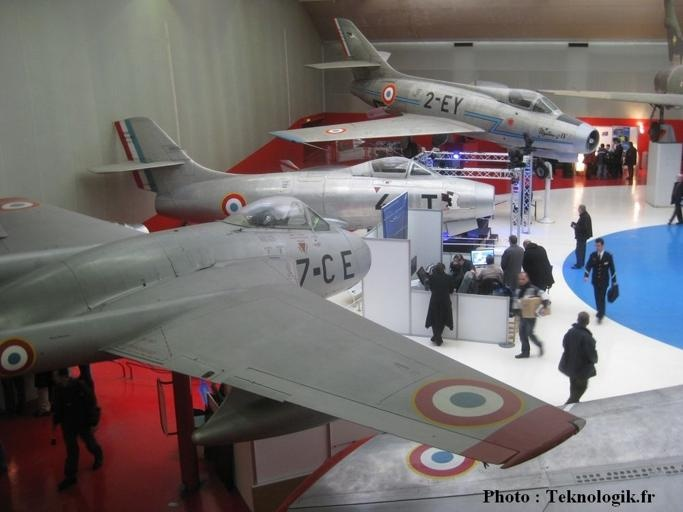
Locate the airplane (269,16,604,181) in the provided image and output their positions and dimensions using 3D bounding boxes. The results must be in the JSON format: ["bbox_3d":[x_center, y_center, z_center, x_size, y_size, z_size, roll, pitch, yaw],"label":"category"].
[{"bbox_3d":[3.432,-4.718,18.940,7.328,2.989,8.026,21,33,31],"label":"airplane"}]

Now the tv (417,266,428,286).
[{"bbox_3d":[1.793,0.453,12.805,0.100,0.248,0.350,-28,9,23],"label":"tv"}]

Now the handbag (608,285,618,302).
[{"bbox_3d":[5.626,0.771,11.983,0.098,0.319,0.310,5,18,13],"label":"handbag"}]
